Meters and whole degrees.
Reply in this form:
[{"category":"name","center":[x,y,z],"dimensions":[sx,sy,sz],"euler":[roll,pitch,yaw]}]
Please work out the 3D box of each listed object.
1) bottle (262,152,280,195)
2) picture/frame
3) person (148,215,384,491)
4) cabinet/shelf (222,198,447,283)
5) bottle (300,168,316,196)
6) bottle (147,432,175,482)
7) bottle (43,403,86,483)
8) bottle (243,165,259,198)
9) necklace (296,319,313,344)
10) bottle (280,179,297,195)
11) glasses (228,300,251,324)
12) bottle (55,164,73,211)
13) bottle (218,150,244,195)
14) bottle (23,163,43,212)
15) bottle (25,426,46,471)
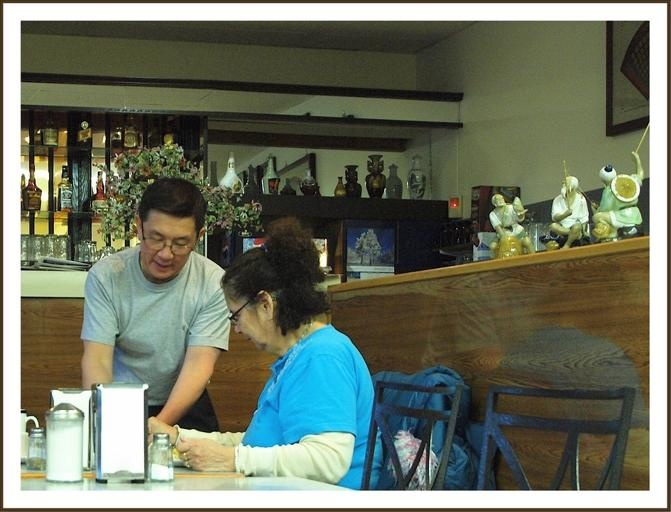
[{"category":"bottle","center":[-0.642,-0.845,6.936],"dimensions":[0.194,0.410,0.217],"euler":[-1,2,-31]},{"category":"picture/frame","center":[2.269,-1.397,5.068],"dimensions":[0.834,0.864,0.040],"euler":[-18,18,-36]},{"category":"person","center":[-0.180,0.359,2.544],"dimensions":[0.756,1.180,0.868],"euler":[2,-7,-4]},{"category":"cabinet/shelf","center":[0.103,0.041,7.162],"dimensions":[2.212,1.141,0.717],"euler":[0,-13,2]},{"category":"bottle","center":[-0.282,-0.771,7.005],"dimensions":[0.171,0.291,0.252],"euler":[0,2,-7]},{"category":"bottle","center":[-0.455,0.518,1.761],"dimensions":[0.062,0.121,0.123],"euler":[0,2,-10]},{"category":"bottle","center":[-0.701,0.476,1.727],"dimensions":[0.105,0.187,0.110],"euler":[-2,-10,0]},{"category":"bottle","center":[-0.867,-0.780,6.844],"dimensions":[0.139,0.302,0.316],"euler":[0,2,9]},{"category":"necklace","center":[-0.100,0.236,2.137],"dimensions":[0.063,0.024,0.047],"euler":[-44,18,-3]},{"category":"bottle","center":[-0.471,-0.710,6.937],"dimensions":[0.158,0.179,0.168],"euler":[1,4,7]},{"category":"glasses","center":[-0.305,0.173,2.154],"dimensions":[0.023,0.084,0.081],"euler":[41,-8,3]},{"category":"bottle","center":[-2.405,-0.609,5.980],"dimensions":[0.204,0.410,0.104],"euler":[2,3,42]},{"category":"bottle","center":[-0.996,-0.779,6.428],"dimensions":[0.212,0.381,0.238],"euler":[2,3,33]},{"category":"bottle","center":[-2.712,-0.607,5.990],"dimensions":[0.166,0.359,0.225],"euler":[-1,2,-18]},{"category":"bottle","center":[-0.829,0.531,1.881],"dimensions":[0.062,0.117,0.063],"euler":[2,8,0]}]
